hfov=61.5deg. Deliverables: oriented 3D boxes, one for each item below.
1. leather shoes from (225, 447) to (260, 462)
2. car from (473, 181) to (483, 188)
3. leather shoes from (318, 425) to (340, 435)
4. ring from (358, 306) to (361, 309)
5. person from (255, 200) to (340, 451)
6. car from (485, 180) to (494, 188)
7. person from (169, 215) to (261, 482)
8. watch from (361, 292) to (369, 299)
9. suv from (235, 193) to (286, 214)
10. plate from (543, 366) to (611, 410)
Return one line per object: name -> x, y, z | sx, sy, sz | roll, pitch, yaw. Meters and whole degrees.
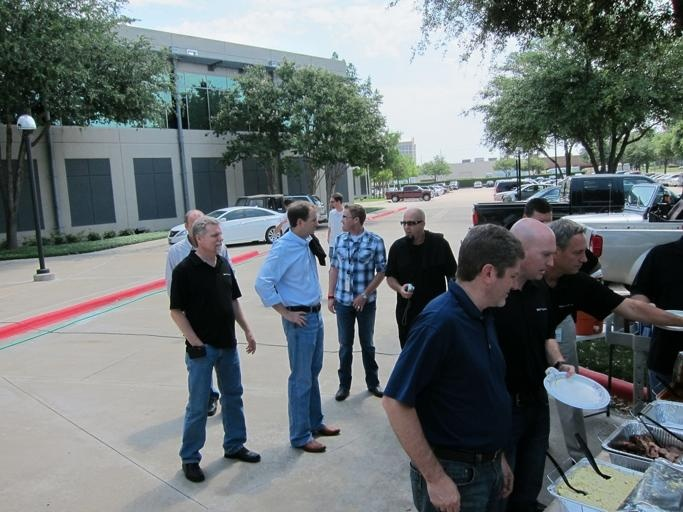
leather shoes -> -1.020, 2.046, 5.938 | 0.347, 0.156, 0.147 | -1, 2, 11
car -> 25.933, -13.496, 109.382 | 1.559, 1.325, 3.652 | 0, 7, 17
leather shoes -> -0.143, 1.942, 6.383 | 0.268, 0.127, 0.098 | -3, 16, 7
ring -> 0.214, 0.652, 7.108 | 0.028, 0.032, 0.054 | -3, 7, 20
person -> -0.450, 0.732, 6.173 | 0.737, 2.555, 0.773 | 1, 11, 11
car -> 27.487, -13.499, 106.507 | 1.711, 1.648, 3.193 | -1, 5, 17
person -> -1.360, 0.898, 5.774 | 0.725, 2.480, 0.721 | -6, 12, -27
watch -> 0.277, 0.497, 7.069 | 0.066, 0.074, 0.018 | 2, -13, -14
suv -> -3.543, -2.361, 25.270 | 1.983, 1.232, 1.356 | 1, 5, 0
plate -> 1.675, 0.966, 4.086 | 0.297, 0.088, 0.345 | -21, 42, -35
